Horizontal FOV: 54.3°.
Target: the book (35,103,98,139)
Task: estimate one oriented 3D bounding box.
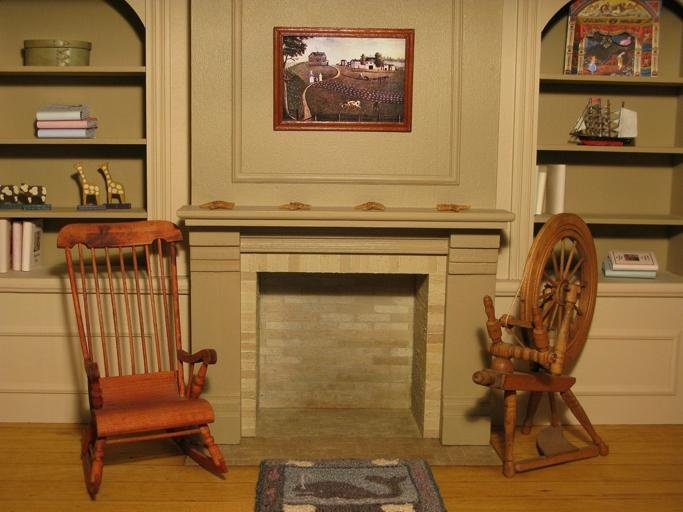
[{"bbox_3d":[-1.686,-0.822,4.073,0.336,0.203,0.236,-3,12,-12],"label":"book"}]

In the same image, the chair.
[{"bbox_3d":[-1.176,0.481,3.889,0.781,1.360,1.298,-6,13,-23],"label":"chair"}]
